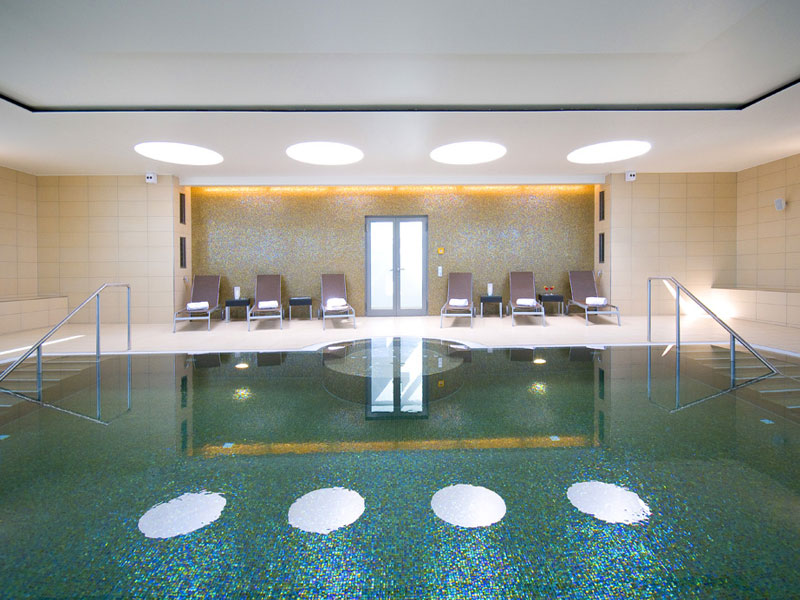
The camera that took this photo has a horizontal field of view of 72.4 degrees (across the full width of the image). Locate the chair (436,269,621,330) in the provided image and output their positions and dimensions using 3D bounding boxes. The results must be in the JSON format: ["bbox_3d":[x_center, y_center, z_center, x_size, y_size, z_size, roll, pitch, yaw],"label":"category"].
[{"bbox_3d":[2.509,-0.092,9.681,2.743,0.827,1.508,-1,3,7],"label":"chair"}]
